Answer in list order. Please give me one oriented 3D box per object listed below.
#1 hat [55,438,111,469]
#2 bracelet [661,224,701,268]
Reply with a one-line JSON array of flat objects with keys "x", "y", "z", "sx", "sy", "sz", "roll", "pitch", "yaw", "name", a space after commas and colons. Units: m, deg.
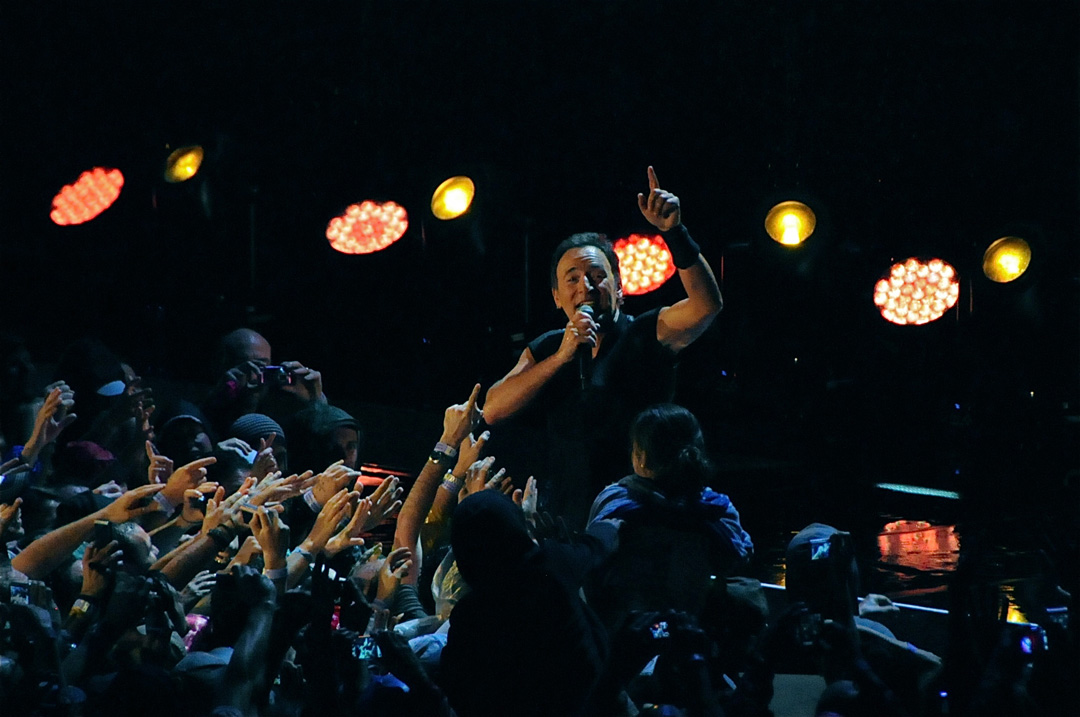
[{"x": -2.434, "y": 0.495, "z": 5.279, "sx": 0.163, "sy": 0.051, "sz": 0.167, "roll": 13, "pitch": 5, "yaw": 16, "name": "hat"}, {"x": 0.725, "y": -0.582, "z": 5.090, "sx": 0.152, "sy": 0.095, "sz": 0.233, "roll": -39, "pitch": -99, "yaw": 43, "name": "bracelet"}]
